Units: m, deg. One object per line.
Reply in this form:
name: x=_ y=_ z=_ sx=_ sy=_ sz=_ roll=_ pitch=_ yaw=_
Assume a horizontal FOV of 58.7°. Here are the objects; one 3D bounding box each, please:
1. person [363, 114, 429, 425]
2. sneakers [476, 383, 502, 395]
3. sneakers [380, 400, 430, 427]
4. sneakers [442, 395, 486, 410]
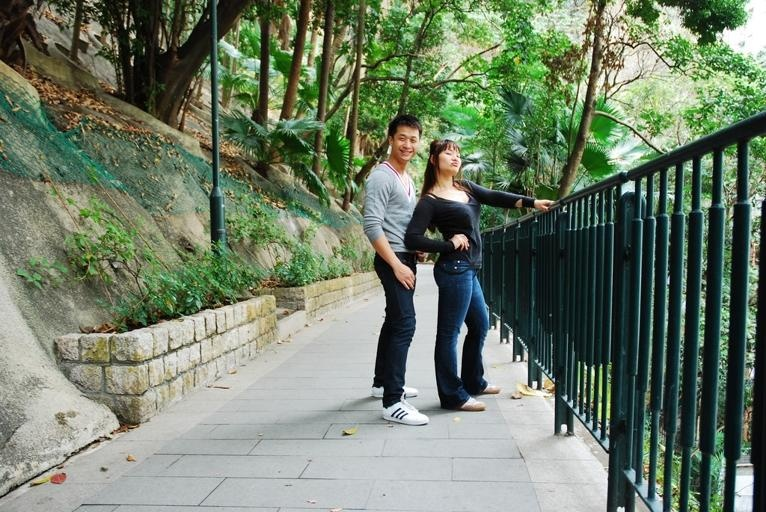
person: x=0.102 y=0.092 z=5.854 sx=0.520 sy=2.588 sz=0.782 roll=-1 pitch=10 yaw=-1
sneakers: x=1.015 y=1.272 z=6.493 sx=0.249 sy=0.102 sz=0.088 roll=-3 pitch=8 yaw=-10
sneakers: x=0.196 y=1.353 z=5.830 sx=0.365 sy=0.170 sz=0.171 roll=-1 pitch=-4 yaw=16
sneakers: x=0.725 y=1.324 z=6.089 sx=0.366 sy=0.156 sz=0.146 roll=-2 pitch=-6 yaw=0
